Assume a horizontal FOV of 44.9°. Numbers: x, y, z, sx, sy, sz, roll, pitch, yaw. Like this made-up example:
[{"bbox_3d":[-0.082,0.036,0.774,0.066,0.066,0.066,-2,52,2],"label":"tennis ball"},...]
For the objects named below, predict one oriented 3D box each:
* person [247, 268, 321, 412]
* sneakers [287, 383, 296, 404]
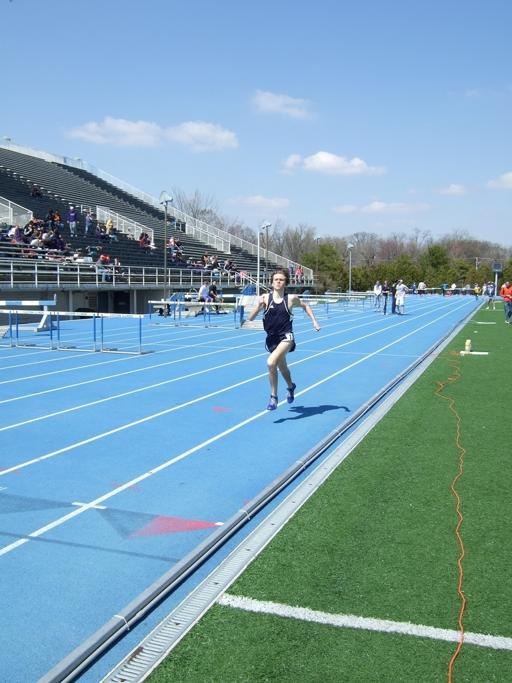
[{"bbox_3d":[0.298,0.038,7.341,0.726,1.727,0.866,3,6,14],"label":"person"},{"bbox_3d":[0.448,0.648,7.950,0.112,0.312,0.135,4,-38,11],"label":"sneakers"}]
